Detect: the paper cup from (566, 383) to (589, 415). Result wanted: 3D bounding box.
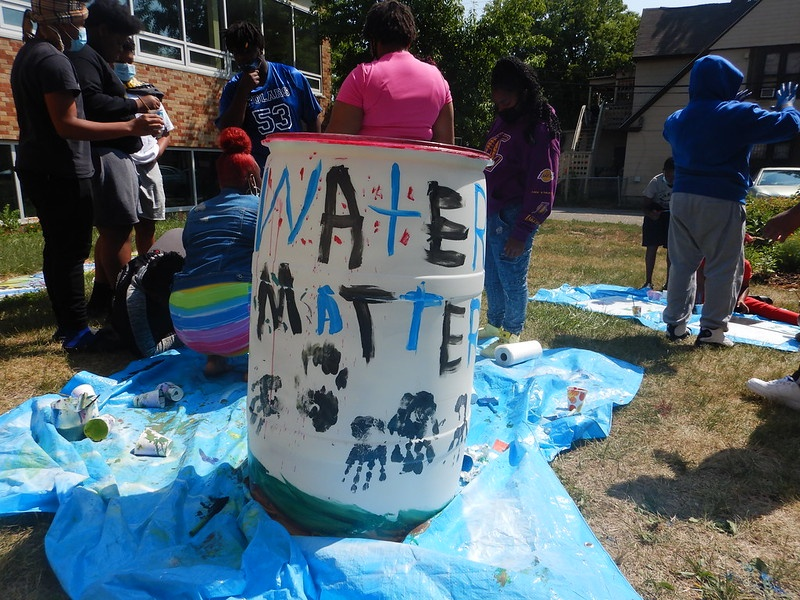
[{"bbox_3d":[1.214,0.677,3.918,0.132,0.152,0.142,7,-8,1],"label":"paper cup"}]

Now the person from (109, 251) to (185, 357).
[{"bbox_3d":[-1.942,0.055,4.440,0.482,0.880,0.597,-3,14,-44],"label":"person"}]

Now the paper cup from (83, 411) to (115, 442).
[{"bbox_3d":[-1.816,0.763,3.504,0.122,0.150,0.152,-2,23,3],"label":"paper cup"}]

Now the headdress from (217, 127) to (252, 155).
[{"bbox_3d":[-1.153,-1.103,4.040,0.160,0.176,0.207,-19,-11,12],"label":"headdress"}]

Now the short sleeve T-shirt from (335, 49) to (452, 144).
[{"bbox_3d":[-0.048,-1.310,3.697,0.695,0.519,0.252,-6,17,-30],"label":"short sleeve T-shirt"}]

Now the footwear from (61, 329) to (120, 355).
[{"bbox_3d":[-2.497,0.337,4.638,0.460,0.226,0.176,4,-4,-17],"label":"footwear"}]

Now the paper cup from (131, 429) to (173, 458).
[{"bbox_3d":[-1.489,0.864,3.441,0.145,0.165,0.157,4,7,0],"label":"paper cup"}]

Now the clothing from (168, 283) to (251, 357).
[{"bbox_3d":[-1.326,0.130,4.025,0.454,0.399,0.559,-3,-1,1],"label":"clothing"}]
